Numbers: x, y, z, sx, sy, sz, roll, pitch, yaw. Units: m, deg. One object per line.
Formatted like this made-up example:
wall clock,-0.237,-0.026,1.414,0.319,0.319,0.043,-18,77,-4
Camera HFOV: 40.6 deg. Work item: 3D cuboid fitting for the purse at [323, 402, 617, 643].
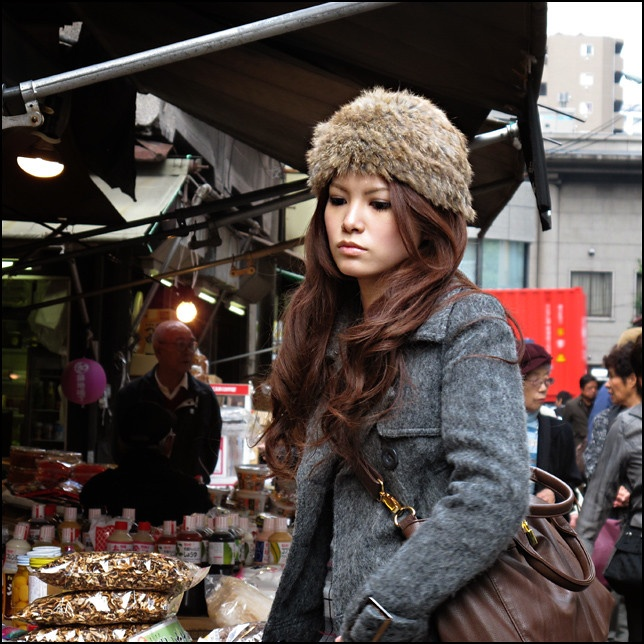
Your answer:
purse,0.424,0.428,2.331,0.441,0.657,0.787,-14,-12,24

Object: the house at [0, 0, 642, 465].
house,-0.235,-0.370,4.130,3.469,0.787,2.129,5,-17,17

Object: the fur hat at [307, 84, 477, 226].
fur hat,0.187,-0.445,2.217,0.413,0.249,0.378,4,-17,6

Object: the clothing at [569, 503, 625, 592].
clothing,1.548,1.172,4.704,0.368,0.460,0.181,-9,-38,41

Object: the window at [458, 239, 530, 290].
window,2.552,-0.750,11.333,0.638,0.643,1.036,0,4,-30

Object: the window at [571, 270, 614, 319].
window,3.491,-0.376,11.250,0.682,0.639,0.396,-1,-8,16

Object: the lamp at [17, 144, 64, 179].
lamp,-1.360,-0.763,4.149,0.166,0.132,0.154,1,-16,21
